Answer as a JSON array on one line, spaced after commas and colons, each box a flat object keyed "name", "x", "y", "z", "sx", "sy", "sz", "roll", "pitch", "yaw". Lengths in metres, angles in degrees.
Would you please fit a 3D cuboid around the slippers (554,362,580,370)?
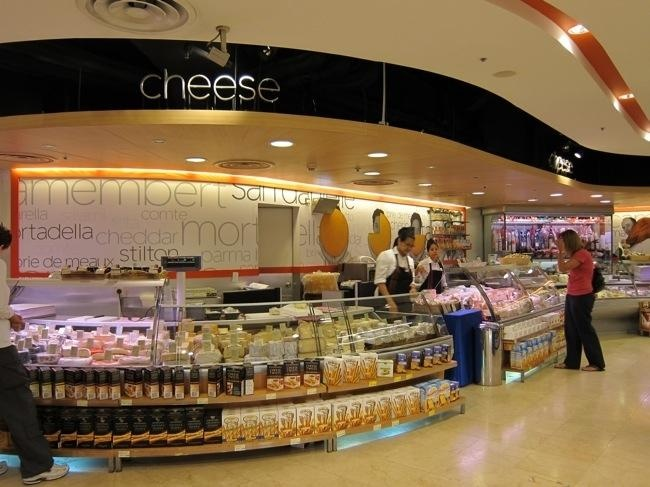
[{"name": "slippers", "x": 3.790, "y": 1.889, "z": 7.705, "sx": 0.336, "sy": 0.132, "sz": 0.115, "roll": 1, "pitch": -1, "yaw": 36}]

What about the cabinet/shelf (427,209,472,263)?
[{"name": "cabinet/shelf", "x": 3.256, "y": -0.222, "z": 13.001, "sx": 0.454, "sy": 1.555, "sz": 1.343, "roll": -8, "pitch": -14, "yaw": 44}]

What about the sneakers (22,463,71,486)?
[{"name": "sneakers", "x": -2.543, "y": 2.138, "z": 4.541, "sx": 0.340, "sy": 0.144, "sz": 0.137, "roll": -3, "pitch": 4, "yaw": -30}]

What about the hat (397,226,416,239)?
[{"name": "hat", "x": 1.123, "y": -0.159, "z": 6.758, "sx": 0.213, "sy": 0.186, "sz": 0.159, "roll": -7, "pitch": 20, "yaw": 23}]

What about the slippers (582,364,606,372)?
[{"name": "slippers", "x": 4.109, "y": 1.916, "z": 7.536, "sx": 0.326, "sy": 0.125, "sz": 0.118, "roll": 2, "pitch": -3, "yaw": 17}]
